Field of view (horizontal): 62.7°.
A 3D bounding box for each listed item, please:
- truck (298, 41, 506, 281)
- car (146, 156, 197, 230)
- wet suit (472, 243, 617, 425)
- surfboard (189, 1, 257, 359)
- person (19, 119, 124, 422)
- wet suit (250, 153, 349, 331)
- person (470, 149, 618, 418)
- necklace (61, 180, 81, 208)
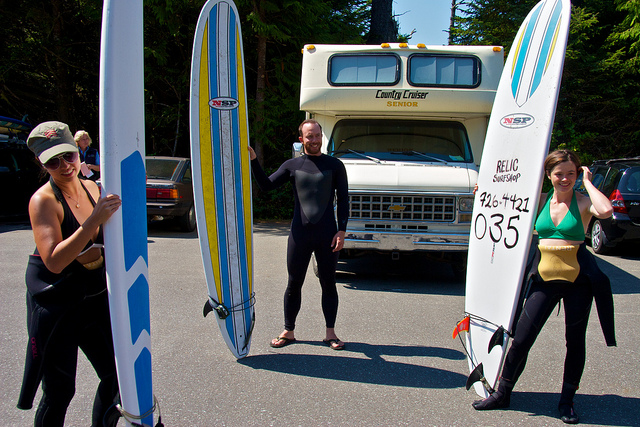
[{"bbox_3d":[1.328,-0.891,9.489,2.240,2.634,4.298,1,-1,5],"label":"truck"},{"bbox_3d":[-3.305,-0.540,12.106,1.082,1.069,2.436,4,14,6],"label":"car"},{"bbox_3d":[1.992,1.122,4.746,1.024,2.085,0.615,-10,-37,37],"label":"wet suit"},{"bbox_3d":[-1.066,-0.283,5.577,0.729,3.707,0.484,-10,9,-28],"label":"surfboard"},{"bbox_3d":[-1.863,0.458,3.889,0.740,2.205,0.576,-4,12,-23],"label":"person"},{"bbox_3d":[-0.176,0.332,5.708,0.920,1.922,0.422,2,11,3],"label":"wet suit"},{"bbox_3d":[2.121,0.603,4.572,0.901,2.228,0.684,6,13,24],"label":"person"},{"bbox_3d":[-1.821,-0.132,3.793,0.003,0.170,0.172,5,12,42],"label":"necklace"}]
